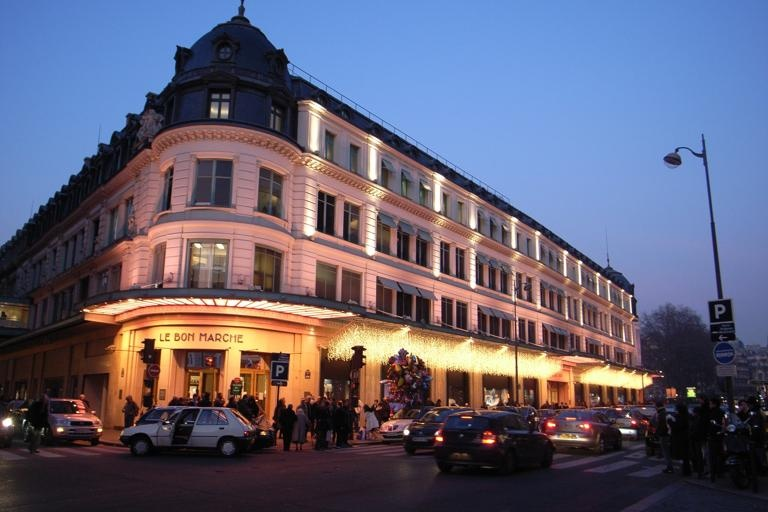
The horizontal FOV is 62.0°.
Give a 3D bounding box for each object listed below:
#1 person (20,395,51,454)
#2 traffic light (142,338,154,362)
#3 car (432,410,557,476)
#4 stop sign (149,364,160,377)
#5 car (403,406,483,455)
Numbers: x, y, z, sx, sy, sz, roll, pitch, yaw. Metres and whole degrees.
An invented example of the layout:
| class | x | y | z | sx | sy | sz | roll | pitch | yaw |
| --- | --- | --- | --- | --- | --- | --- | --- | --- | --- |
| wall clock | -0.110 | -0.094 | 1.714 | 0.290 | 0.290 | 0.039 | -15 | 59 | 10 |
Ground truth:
| class | x | y | z | sx | sy | sz | roll | pitch | yaw |
| --- | --- | --- | --- | --- | --- | --- | --- | --- | --- |
| person | -14.795 | 7.205 | 27.263 | 0.810 | 2.360 | 1.304 | 7 | -21 | -27 |
| traffic light | -12.055 | 4.855 | 32.872 | 0.564 | 1.242 | 0.443 | 4 | -20 | -20 |
| car | 4.181 | 7.002 | 24.146 | 4.265 | 2.288 | 1.723 | 11 | -23 | -35 |
| stop sign | -11.922 | 5.908 | 33.184 | 0.459 | 0.672 | 0.471 | 5 | -20 | -21 |
| car | 1.985 | 8.096 | 29.651 | 2.097 | 1.592 | 4.686 | -7 | -17 | 25 |
